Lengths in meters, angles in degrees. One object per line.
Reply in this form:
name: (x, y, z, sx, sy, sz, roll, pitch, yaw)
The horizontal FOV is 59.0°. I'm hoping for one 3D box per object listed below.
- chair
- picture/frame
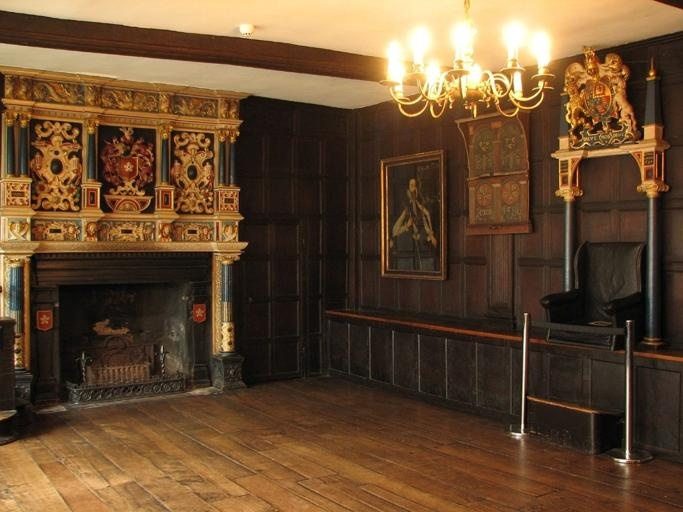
chair: (2.651, 0.412, 6.122, 1.040, 1.269, 1.114, 4, -3, -43)
picture/frame: (0.944, -0.484, 7.963, 0.058, 1.610, 1.404, -3, 3, -28)
